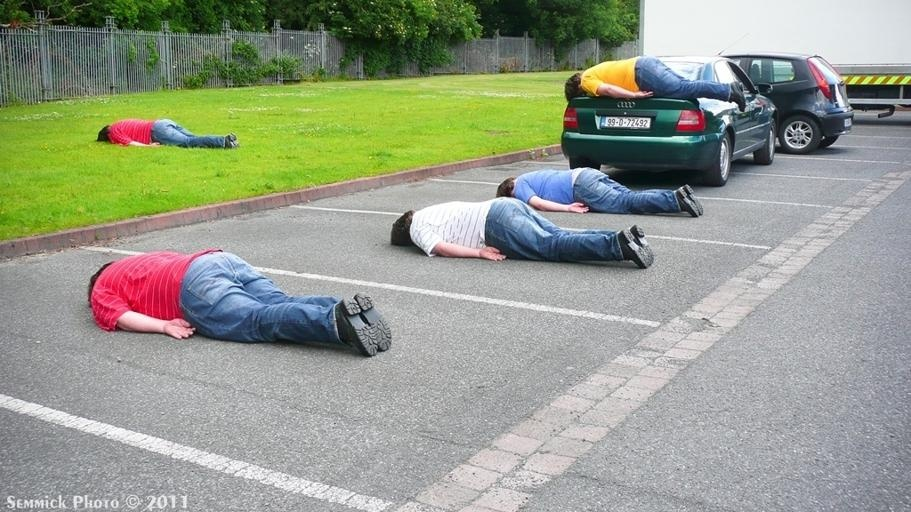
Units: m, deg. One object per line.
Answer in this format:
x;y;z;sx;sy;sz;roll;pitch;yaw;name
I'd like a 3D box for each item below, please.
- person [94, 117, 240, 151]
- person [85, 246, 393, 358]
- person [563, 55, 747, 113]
-7.529;-3.102;16.415;3.789;0.736;0.715;2;15;14;person
-2.277;0.511;6.584;2.993;0.652;1.208;6;6;23;person
3.693;-3.354;12.361;3.293;0.838;1.206;6;26;23;person
